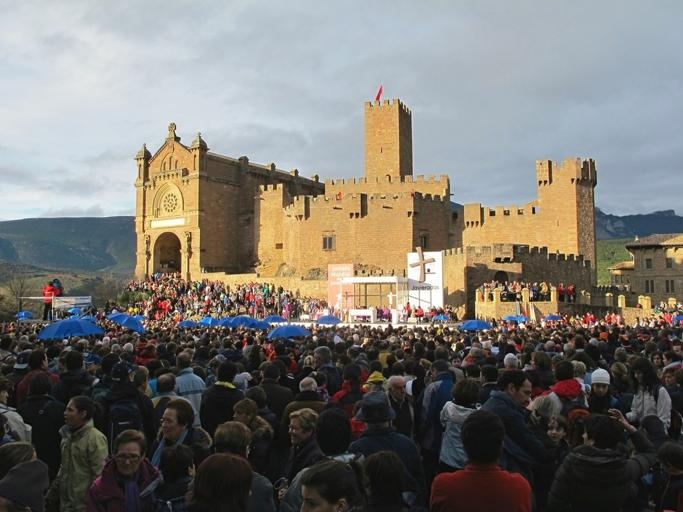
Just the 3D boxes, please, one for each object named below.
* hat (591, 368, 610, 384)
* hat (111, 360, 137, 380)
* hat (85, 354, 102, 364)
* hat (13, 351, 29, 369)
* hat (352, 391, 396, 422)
[{"bbox_3d":[4.017,1.895,14.388,0.225,0.195,0.254,1,-14,14],"label":"hat"},{"bbox_3d":[-3.459,1.828,14.713,0.254,0.222,0.381,2,16,4],"label":"hat"},{"bbox_3d":[-4.723,1.994,17.693,0.260,0.255,0.141,1,-9,-11],"label":"hat"},{"bbox_3d":[-5.610,1.855,16.327,0.252,0.192,0.338,1,-1,-23],"label":"hat"},{"bbox_3d":[0.475,2.177,13.209,0.534,0.449,0.199,0,-7,2],"label":"hat"}]
